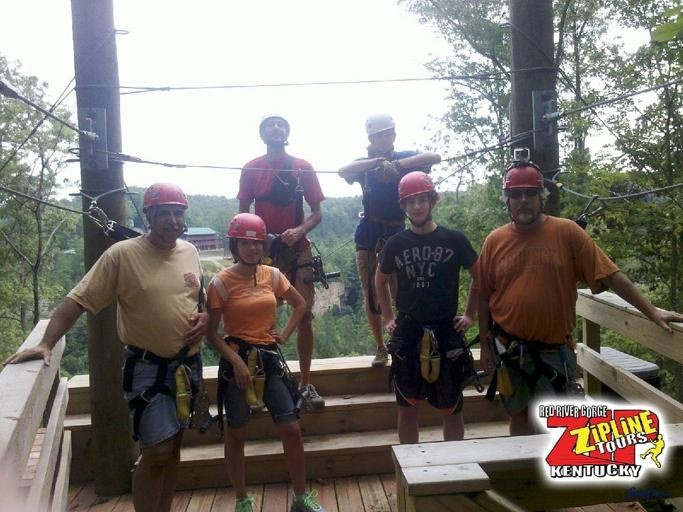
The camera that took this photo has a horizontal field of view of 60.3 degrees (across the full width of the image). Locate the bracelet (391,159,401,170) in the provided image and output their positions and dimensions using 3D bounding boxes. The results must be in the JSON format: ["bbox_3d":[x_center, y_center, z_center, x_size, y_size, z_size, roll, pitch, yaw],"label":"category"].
[{"bbox_3d":[0.525,-0.879,5.678,0.076,0.107,0.114,-3,6,9],"label":"bracelet"}]

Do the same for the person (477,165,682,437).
[{"bbox_3d":[1.612,0.334,4.499,1.105,2.127,0.387,-3,6,13],"label":"person"}]

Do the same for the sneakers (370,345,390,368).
[{"bbox_3d":[0.391,1.059,6.093,0.129,0.167,0.376,-2,-7,7],"label":"sneakers"}]

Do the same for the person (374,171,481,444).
[{"bbox_3d":[0.719,0.407,4.837,0.836,2.202,0.528,-4,5,3],"label":"person"}]

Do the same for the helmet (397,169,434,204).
[{"bbox_3d":[0.609,-0.580,4.807,0.201,0.220,0.281,-12,41,17],"label":"helmet"}]

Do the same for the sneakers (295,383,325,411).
[{"bbox_3d":[-0.271,1.365,5.590,0.168,0.188,0.456,1,-6,-26],"label":"sneakers"}]

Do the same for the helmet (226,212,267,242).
[{"bbox_3d":[-0.785,-0.235,4.875,0.272,0.164,0.214,13,6,0],"label":"helmet"}]
